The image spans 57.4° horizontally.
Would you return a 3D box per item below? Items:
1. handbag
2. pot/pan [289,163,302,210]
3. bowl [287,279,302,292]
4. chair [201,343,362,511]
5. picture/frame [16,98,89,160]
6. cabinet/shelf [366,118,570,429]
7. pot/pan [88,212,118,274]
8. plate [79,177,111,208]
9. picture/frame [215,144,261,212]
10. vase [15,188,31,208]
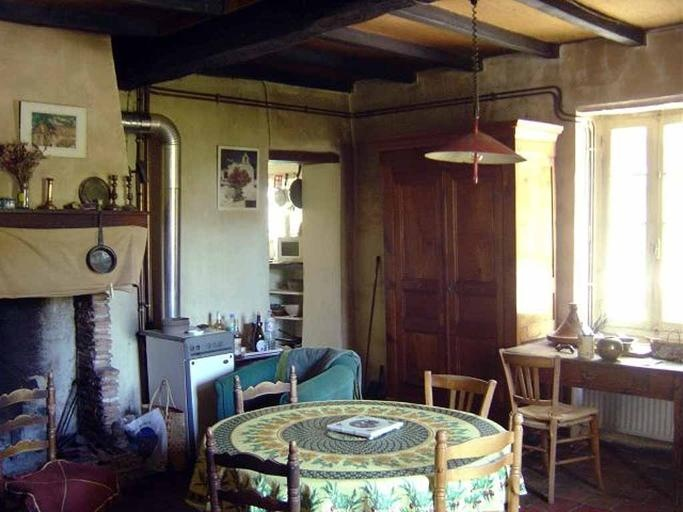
[{"bbox_3d":[-1.593,1.509,5.361,0.676,0.926,0.265,2,-10,2],"label":"handbag"},{"bbox_3d":[-0.564,-0.816,7.535,0.291,0.478,0.067,-1,-3,-39],"label":"pot/pan"},{"bbox_3d":[-0.583,0.368,7.749,0.170,0.145,0.262,-2,2,-13],"label":"bowl"},{"bbox_3d":[-0.413,1.135,4.884,0.764,0.865,0.803,-4,-11,35],"label":"chair"},{"bbox_3d":[-2.300,-1.009,4.911,0.500,0.438,0.047,-4,10,-39],"label":"picture/frame"},{"bbox_3d":[1.184,0.228,6.170,1.501,2.585,0.924,4,11,37],"label":"cabinet/shelf"},{"bbox_3d":[-1.971,-0.086,5.120,0.063,0.464,0.246,0,1,38],"label":"pot/pan"},{"bbox_3d":[-2.038,-0.528,5.129,0.241,0.205,0.117,-3,2,-30],"label":"plate"},{"bbox_3d":[-1.087,-0.802,6.387,0.667,0.932,0.036,-2,2,-41],"label":"picture/frame"},{"bbox_3d":[-2.460,-0.442,4.818,0.096,0.141,0.107,-3,2,-28],"label":"vase"}]
